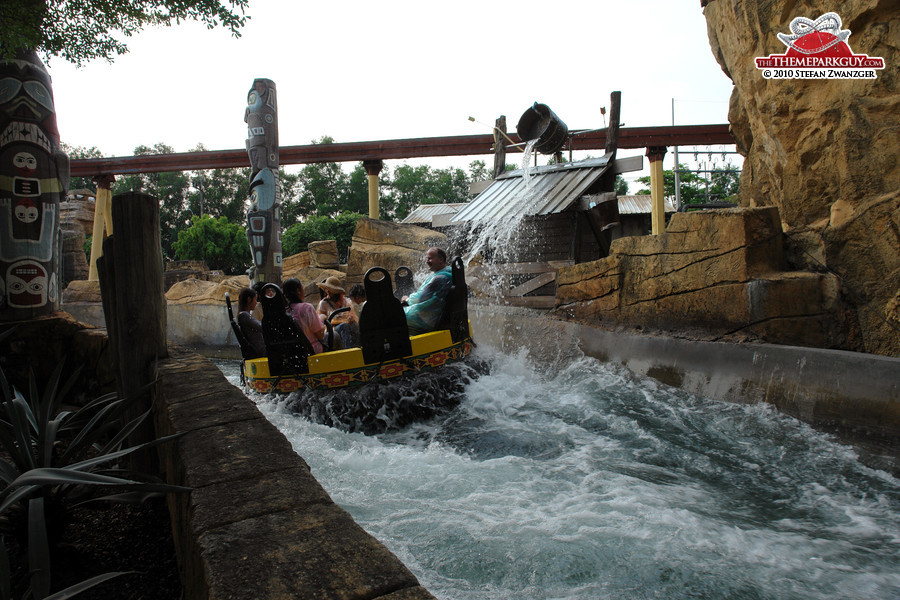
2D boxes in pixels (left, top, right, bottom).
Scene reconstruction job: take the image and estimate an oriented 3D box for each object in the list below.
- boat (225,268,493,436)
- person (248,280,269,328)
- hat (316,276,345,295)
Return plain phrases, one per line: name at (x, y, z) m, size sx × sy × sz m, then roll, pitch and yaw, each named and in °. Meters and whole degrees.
boat at (-1.064, 0.591, 8.007) m, size 2.882 × 2.109 × 0.779 m, roll -4°, pitch 13°, yaw -12°
person at (-2.700, 0.070, 8.447) m, size 0.220 × 0.767 × 0.291 m, roll 1°, pitch -3°, yaw -4°
hat at (-2.167, -0.267, 10.886) m, size 0.420 × 0.186 × 0.456 m, roll 9°, pitch -16°, yaw 19°
